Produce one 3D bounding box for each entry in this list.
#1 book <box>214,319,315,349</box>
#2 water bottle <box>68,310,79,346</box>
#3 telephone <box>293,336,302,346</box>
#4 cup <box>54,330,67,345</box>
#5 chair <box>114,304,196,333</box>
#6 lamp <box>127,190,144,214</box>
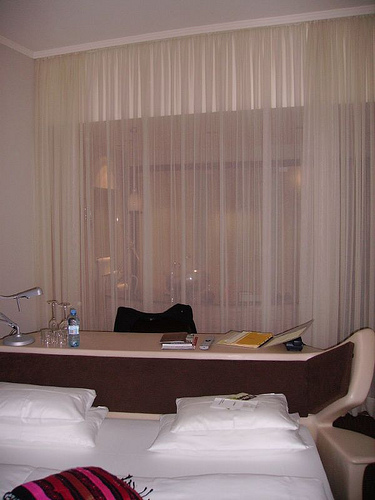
[{"bbox_3d":[0.418,0.444,2.296,0.513,0.132,0.333,-1,2,14],"label":"book"},{"bbox_3d":[-0.638,0.417,2.296,0.055,0.192,0.176,-2,2,-17],"label":"water bottle"},{"bbox_3d":[0.575,0.476,2.169,0.031,0.046,0.046,-1,-3,22],"label":"telephone"},{"bbox_3d":[-0.706,0.479,2.292,0.067,0.073,0.118,-2,2,-16],"label":"cup"},{"bbox_3d":[-0.219,0.480,2.884,0.550,0.172,0.253,-1,2,13],"label":"chair"},{"bbox_3d":[-0.508,-0.466,3.994,0.186,0.228,0.191,-5,10,-32],"label":"lamp"}]
